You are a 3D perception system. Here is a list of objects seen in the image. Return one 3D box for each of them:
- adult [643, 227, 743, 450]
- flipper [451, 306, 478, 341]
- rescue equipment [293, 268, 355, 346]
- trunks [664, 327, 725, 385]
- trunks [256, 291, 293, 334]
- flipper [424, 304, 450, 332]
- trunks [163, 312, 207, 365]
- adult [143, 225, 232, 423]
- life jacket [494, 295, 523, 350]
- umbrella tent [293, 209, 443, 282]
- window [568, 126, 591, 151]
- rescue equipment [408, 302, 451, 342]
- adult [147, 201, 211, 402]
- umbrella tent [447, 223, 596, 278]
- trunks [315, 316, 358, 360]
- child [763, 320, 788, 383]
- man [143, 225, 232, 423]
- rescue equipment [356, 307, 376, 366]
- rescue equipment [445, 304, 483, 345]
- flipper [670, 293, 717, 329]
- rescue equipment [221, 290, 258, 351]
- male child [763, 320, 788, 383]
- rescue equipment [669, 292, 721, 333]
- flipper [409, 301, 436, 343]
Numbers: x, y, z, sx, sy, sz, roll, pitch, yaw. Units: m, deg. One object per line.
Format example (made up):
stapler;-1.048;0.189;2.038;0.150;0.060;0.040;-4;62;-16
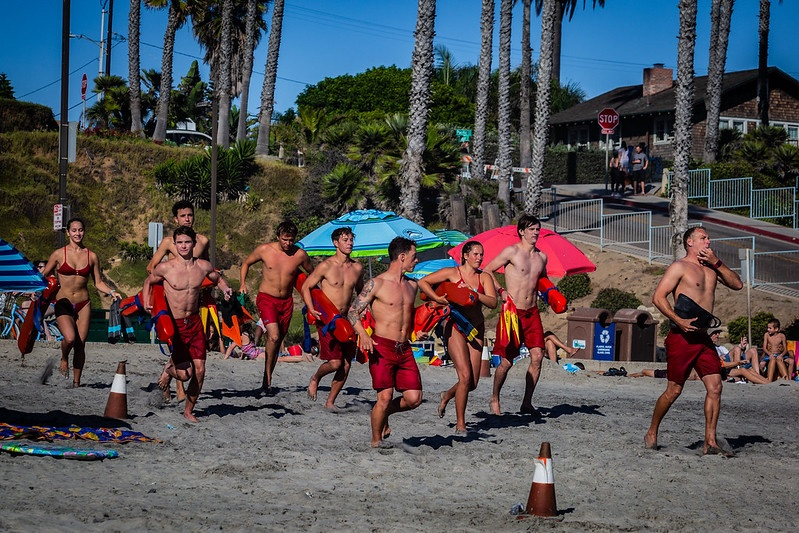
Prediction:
adult;3.943;0.996;12.304;1.338;3.125;1.009;0;-4;33
flipper;0.902;0.792;12.727;0.564;0.146;0.064;46;1;-8
rescue equipment;-1.050;0.700;13.139;0.454;0.480;1.540;12;18;-34
trunks;4.029;1.173;12.262;0.721;0.708;0.416;-3;5;13
trunks;-1.997;0.781;14.827;0.638;0.763;0.452;-5;-31;-10
flipper;0.471;0.705;12.501;0.254;0.463;0.164;30;1;-28
trunks;-3.028;1.042;12.909;0.488;0.702;0.302;0;6;-22
adult;-3.127;0.831;12.967;1.014;2.784;0.518;1;6;-12
life jacket;1.650;0.827;13.552;0.329;0.780;0.286;8;-14;-22
umbrella tent;-0.923;-0.401;21.423;2.696;1.094;2.574;-7;9;46
window;11.729;-8.345;58.376;0.219;1.963;2.234;-4;8;-31
rescue equipment;0.494;0.667;12.574;0.406;0.296;0.739;16;31;-5
adult;-3.467;0.409;14.427;1.236;2.973;0.877;5;20;-6
umbrella tent;2.544;-0.357;18.325;2.980;0.980;2.960;2;6;39
trunks;-0.968;1.085;13.720;0.455;0.730;0.677;2;-3;-12
child;8.699;1.883;20.675;0.585;1.393;0.763;4;6;20
man;-3.123;0.831;12.967;1.005;2.784;0.515;1;6;-12
rescue equipment;-0.391;0.877;12.164;0.206;0.679;0.079;4;22;16
rescue equipment;0.875;0.796;12.805;0.086;0.199;0.772;14;27;-31
flipper;4.026;0.596;12.179;0.628;0.446;0.401;2;6;1
rescue equipment;-2.749;0.813;15.317;0.732;1.015;0.643;0;25;-2
male child;8.695;1.884;20.663;0.585;1.393;0.787;4;6;20
rescue equipment;4.042;0.600;12.174;0.557;0.428;0.221;37;52;7
flipper;0.376;0.774;12.596;0.170;0.467;0.276;-26;8;24
